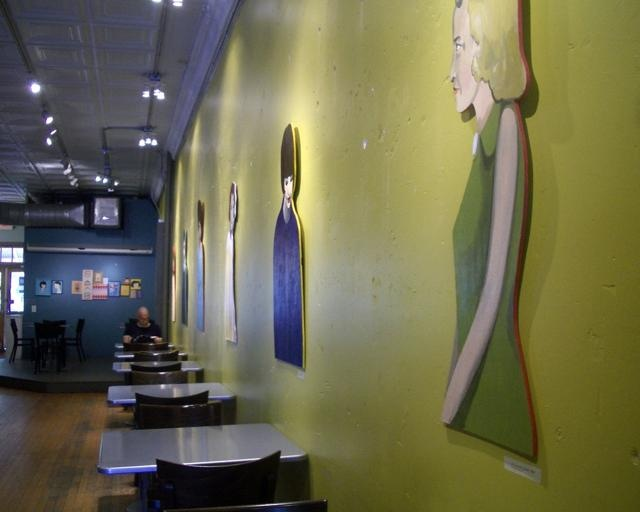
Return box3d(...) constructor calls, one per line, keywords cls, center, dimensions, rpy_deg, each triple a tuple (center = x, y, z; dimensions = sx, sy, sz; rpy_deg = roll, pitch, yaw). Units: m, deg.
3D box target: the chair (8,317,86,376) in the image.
box3d(cls="chair", center=(-5.513, 1.765, 11.278), dimensions=(1.413, 0.940, 3.885), rpy_deg=(2, -4, -21))
